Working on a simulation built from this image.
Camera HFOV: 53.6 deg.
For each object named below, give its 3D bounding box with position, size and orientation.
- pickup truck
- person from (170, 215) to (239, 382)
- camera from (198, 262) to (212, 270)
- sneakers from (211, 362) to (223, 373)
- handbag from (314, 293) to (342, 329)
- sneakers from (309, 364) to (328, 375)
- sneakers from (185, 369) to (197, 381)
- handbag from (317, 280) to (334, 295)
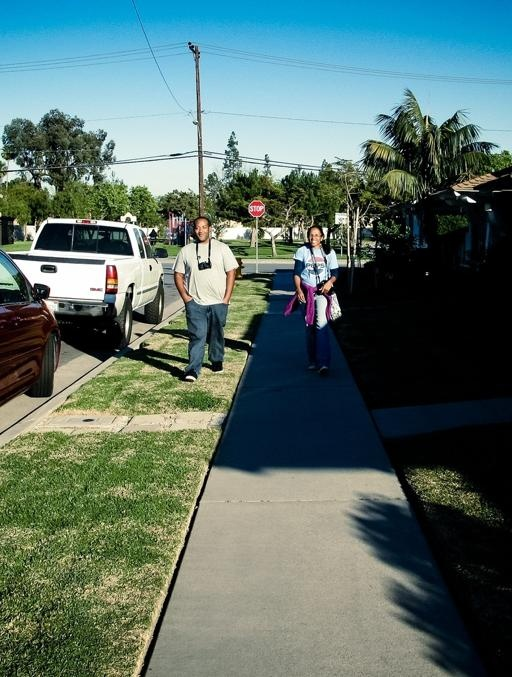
[{"bbox_3d":[-2.973,-1.288,10.158,1.990,1.512,3.430,4,13,8],"label":"pickup truck"},{"bbox_3d":[-0.723,-0.562,7.005,0.877,2.250,0.720,-1,3,-38],"label":"person"},{"bbox_3d":[-0.692,-0.984,6.860,0.148,0.082,0.058,-7,0,-3],"label":"camera"},{"bbox_3d":[-0.545,0.415,7.298,0.139,0.152,0.140,0,-9,0],"label":"sneakers"},{"bbox_3d":[1.003,-0.401,7.284,0.435,0.453,0.187,0,14,-4],"label":"handbag"},{"bbox_3d":[0.899,0.446,7.154,0.097,0.126,0.293,18,-12,-9],"label":"sneakers"},{"bbox_3d":[-0.860,0.499,6.736,0.167,0.171,0.118,0,2,-6],"label":"sneakers"},{"bbox_3d":[1.003,-0.741,7.120,0.090,0.231,0.169,41,-6,-29],"label":"handbag"}]
